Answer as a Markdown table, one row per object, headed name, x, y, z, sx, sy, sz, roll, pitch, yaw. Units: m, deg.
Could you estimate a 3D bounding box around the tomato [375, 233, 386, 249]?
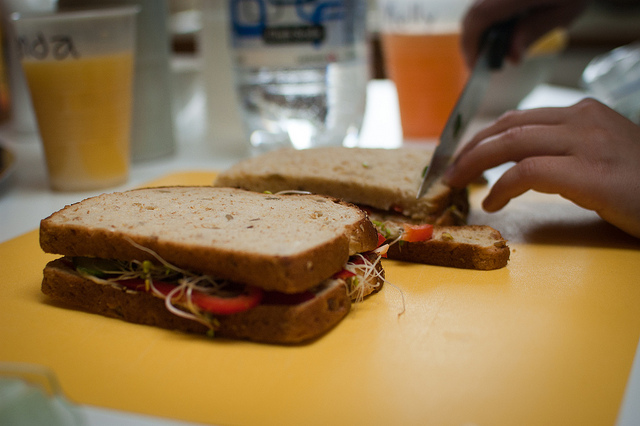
| name | x | y | z | sx | sy | sz | roll | pitch | yaw |
| --- | --- | --- | --- | --- | --- | --- | --- | --- | --- |
| tomato | 0.241 | 0.112 | 2.019 | 0.038 | 0.011 | 0.042 | 20 | 29 | 27 |
